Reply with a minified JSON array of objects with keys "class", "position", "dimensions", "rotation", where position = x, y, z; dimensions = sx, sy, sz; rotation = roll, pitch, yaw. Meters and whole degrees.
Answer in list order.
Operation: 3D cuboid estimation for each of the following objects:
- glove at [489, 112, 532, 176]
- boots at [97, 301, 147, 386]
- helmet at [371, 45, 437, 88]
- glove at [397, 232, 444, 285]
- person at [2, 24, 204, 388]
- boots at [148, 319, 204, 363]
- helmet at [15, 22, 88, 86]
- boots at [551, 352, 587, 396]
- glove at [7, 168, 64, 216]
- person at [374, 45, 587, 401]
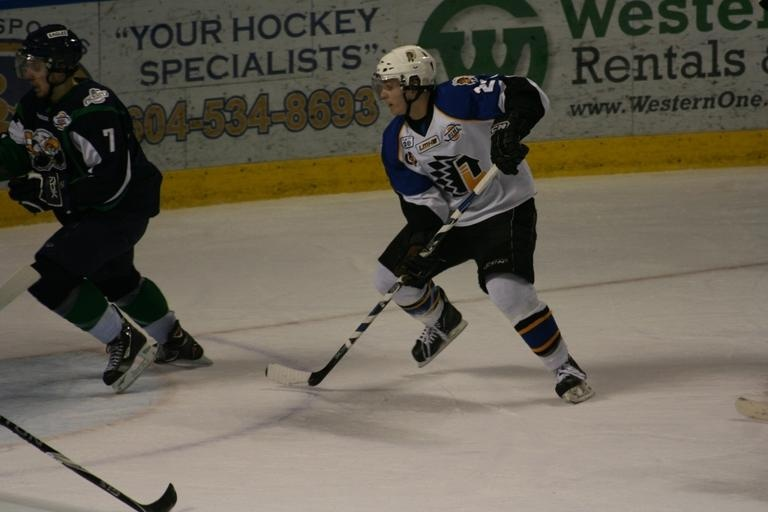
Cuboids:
[{"class":"glove","position":[0.541,-0.489,4.257],"dimensions":[0.115,0.232,0.207],"rotation":[17,-32,-41]},{"class":"boots","position":[-1.217,0.423,4.527],"dimensions":[0.219,0.355,0.279],"rotation":[-6,18,-14]},{"class":"helmet","position":[0.103,-0.885,4.540],"dimensions":[0.275,0.210,0.198],"rotation":[0,5,-2]},{"class":"glove","position":[0.165,0.028,4.500],"dimensions":[0.110,0.255,0.160],"rotation":[28,28,13]},{"class":"person","position":[-1.344,-0.247,4.564],"dimensions":[0.789,1.640,0.806],"rotation":[-9,19,-21]},{"class":"boots","position":[-1.013,0.437,4.832],"dimensions":[0.269,0.204,0.162],"rotation":[2,14,19]},{"class":"helmet","position":[-1.546,-0.964,4.527],"dimensions":[0.356,0.242,0.248],"rotation":[-3,7,-16]},{"class":"boots","position":[0.834,0.536,4.261],"dimensions":[0.164,0.165,0.206],"rotation":[1,17,9]},{"class":"glove","position":[-1.584,-0.290,4.468],"dimensions":[0.263,0.190,0.113],"rotation":[1,18,9]},{"class":"person","position":[0.411,-0.199,4.454],"dimensions":[1.139,1.485,0.518],"rotation":[11,22,35]}]
